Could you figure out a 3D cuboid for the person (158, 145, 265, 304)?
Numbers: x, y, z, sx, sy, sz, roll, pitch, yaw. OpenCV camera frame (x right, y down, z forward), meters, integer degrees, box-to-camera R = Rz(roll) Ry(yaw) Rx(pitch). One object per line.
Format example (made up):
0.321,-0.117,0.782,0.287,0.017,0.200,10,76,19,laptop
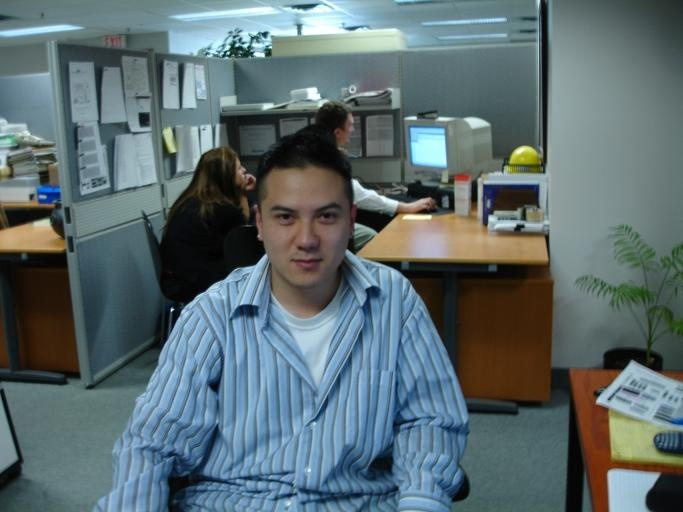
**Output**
-0.797,-0.216,3.523,0.607,0.897,0.534,-6,17,-39,person

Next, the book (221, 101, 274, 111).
-0.786,-1.255,4.757,0.444,0.076,0.238,-3,12,-2,book

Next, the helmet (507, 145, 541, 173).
1.172,-0.608,3.586,0.180,0.143,0.184,12,20,44,helmet

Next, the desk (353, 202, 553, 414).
0.723,0.271,3.181,0.762,0.770,1.498,-1,14,7,desk

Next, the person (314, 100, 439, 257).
0.247,-0.556,4.268,1.155,1.294,0.537,-18,22,-28,person

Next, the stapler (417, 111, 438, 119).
0.656,-1.061,4.253,0.143,0.074,0.133,0,11,-3,stapler

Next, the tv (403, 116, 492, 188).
0.837,-0.846,4.314,0.548,0.610,0.550,-14,16,-37,tv
